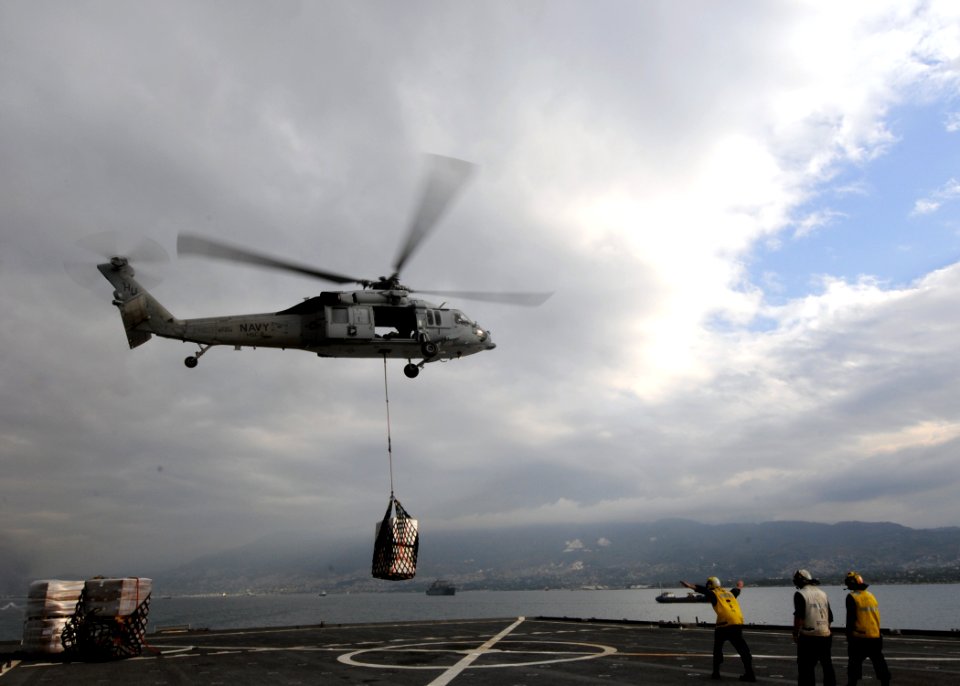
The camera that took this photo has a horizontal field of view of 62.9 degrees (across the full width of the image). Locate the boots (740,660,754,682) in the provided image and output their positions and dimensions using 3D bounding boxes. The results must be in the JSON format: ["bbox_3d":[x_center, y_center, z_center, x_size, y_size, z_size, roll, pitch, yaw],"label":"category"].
[{"bbox_3d":[7.826,9.603,23.077,0.411,0.561,0.890,-9,-23,14],"label":"boots"}]

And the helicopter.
[{"bbox_3d":[-5.836,-1.498,31.653,17.857,5.578,14.460,0,-33,-9],"label":"helicopter"}]
